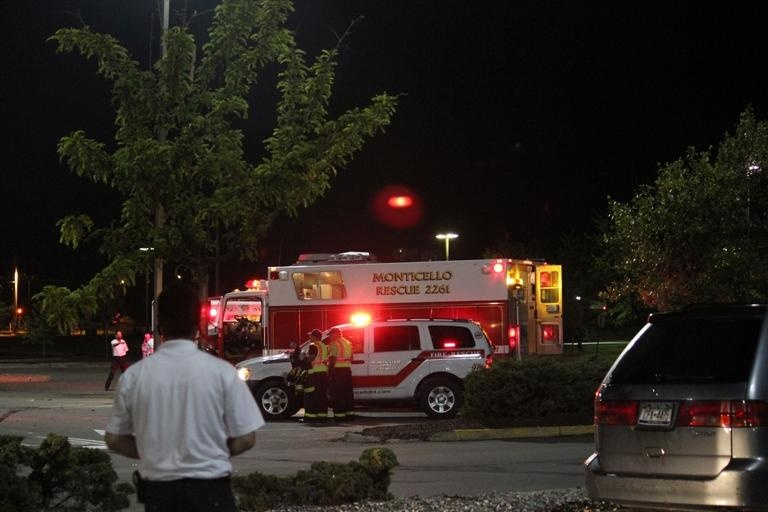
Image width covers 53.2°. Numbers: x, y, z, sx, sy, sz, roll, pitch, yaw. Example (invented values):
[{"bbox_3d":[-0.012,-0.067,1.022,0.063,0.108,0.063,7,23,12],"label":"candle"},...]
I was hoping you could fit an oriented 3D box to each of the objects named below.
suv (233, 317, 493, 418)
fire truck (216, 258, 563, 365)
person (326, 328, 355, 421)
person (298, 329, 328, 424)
[{"bbox_3d":[-0.203,2.496,18.334,5.453,2.028,2.507,0,-4,7],"label":"suv"},{"bbox_3d":[0.026,2.000,21.091,8.734,4.023,3.341,-2,-3,18],"label":"fire truck"},{"bbox_3d":[-0.951,2.719,17.006,0.534,1.770,0.253,0,-4,-2],"label":"person"},{"bbox_3d":[-1.509,2.766,17.020,0.606,1.761,0.536,-1,-4,7],"label":"person"}]
